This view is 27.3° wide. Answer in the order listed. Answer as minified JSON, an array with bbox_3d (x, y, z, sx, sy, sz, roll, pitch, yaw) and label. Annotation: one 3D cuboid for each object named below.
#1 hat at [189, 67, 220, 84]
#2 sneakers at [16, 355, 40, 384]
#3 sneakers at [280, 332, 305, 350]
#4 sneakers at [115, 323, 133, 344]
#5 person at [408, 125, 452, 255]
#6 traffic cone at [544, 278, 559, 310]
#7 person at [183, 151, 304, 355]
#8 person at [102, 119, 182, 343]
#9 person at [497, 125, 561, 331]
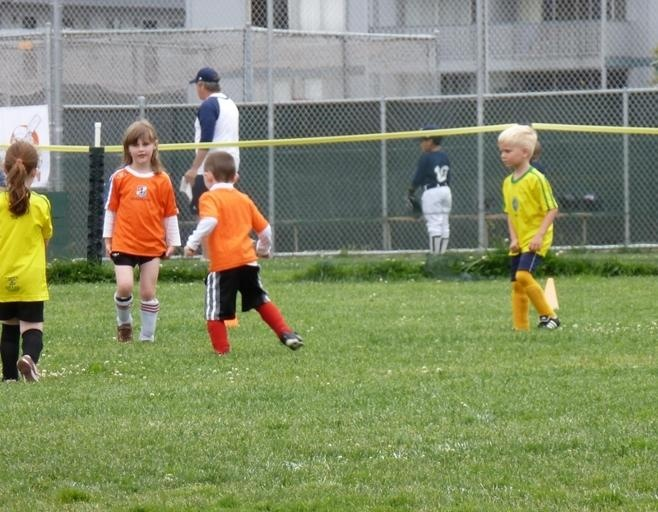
[{"bbox_3d":[-1.211,-1.676,12.898,0.278,0.158,0.200,9,20,20],"label":"hat"},{"bbox_3d":[-2.183,0.811,9.815,0.092,0.258,0.122,-19,1,-12],"label":"sneakers"},{"bbox_3d":[-0.287,0.637,10.424,0.092,0.099,0.194,-37,10,-9],"label":"sneakers"},{"bbox_3d":[-1.665,0.623,11.020,0.146,0.195,0.448,0,1,-9],"label":"sneakers"},{"bbox_3d":[1.058,-0.648,14.247,0.457,1.218,0.274,-1,11,4],"label":"person"},{"bbox_3d":[2.034,0.342,12.415,0.158,0.310,0.167,-9,-29,14],"label":"traffic cone"},{"bbox_3d":[-0.705,-0.053,10.612,0.816,1.488,0.690,-1,11,2],"label":"person"},{"bbox_3d":[-1.535,-0.213,11.086,0.608,1.752,0.658,-3,11,-9],"label":"person"},{"bbox_3d":[1.690,-0.249,11.365,0.481,1.632,0.638,-1,11,1],"label":"person"}]
